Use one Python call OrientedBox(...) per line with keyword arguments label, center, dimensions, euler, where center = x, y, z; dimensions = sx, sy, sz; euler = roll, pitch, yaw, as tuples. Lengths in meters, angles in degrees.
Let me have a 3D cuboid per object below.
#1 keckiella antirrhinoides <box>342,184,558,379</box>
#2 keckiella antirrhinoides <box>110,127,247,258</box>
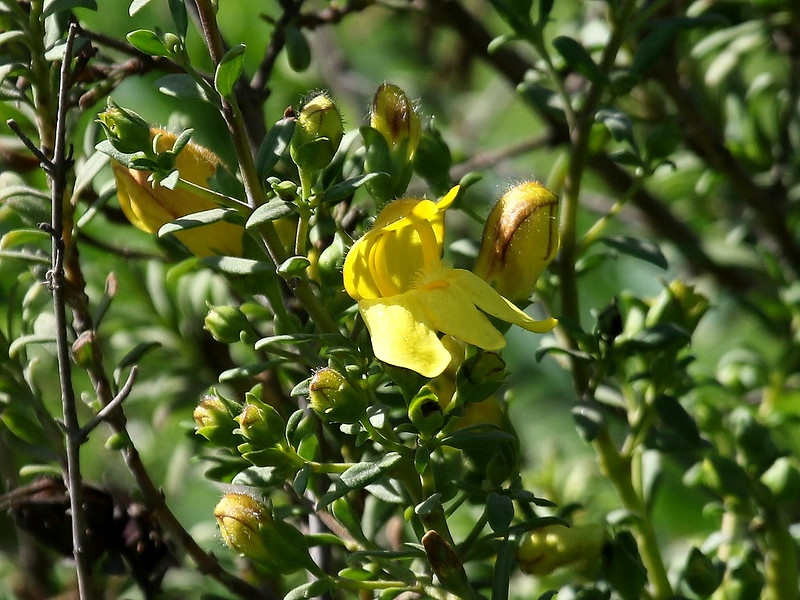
OrientedBox(label="keckiella antirrhinoides", center=(0.062, -0.041, 1.140), dimensions=(0.260, 0.162, 0.199), euler=(-11, 15, -11))
OrientedBox(label="keckiella antirrhinoides", center=(-0.270, -0.142, 1.269), dimensions=(0.138, 0.172, 0.066), euler=(-46, 16, 12))
